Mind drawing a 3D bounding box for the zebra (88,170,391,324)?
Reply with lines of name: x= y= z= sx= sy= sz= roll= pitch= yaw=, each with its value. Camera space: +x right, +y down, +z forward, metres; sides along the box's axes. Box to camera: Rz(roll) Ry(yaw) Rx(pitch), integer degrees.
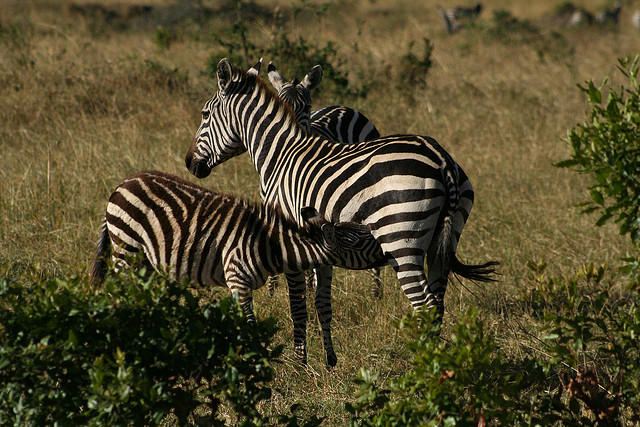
zebra: x=-1.414 y=0.533 z=14.532 sx=4.147 sy=1.667 sz=0.870 roll=7 pitch=27 yaw=14
